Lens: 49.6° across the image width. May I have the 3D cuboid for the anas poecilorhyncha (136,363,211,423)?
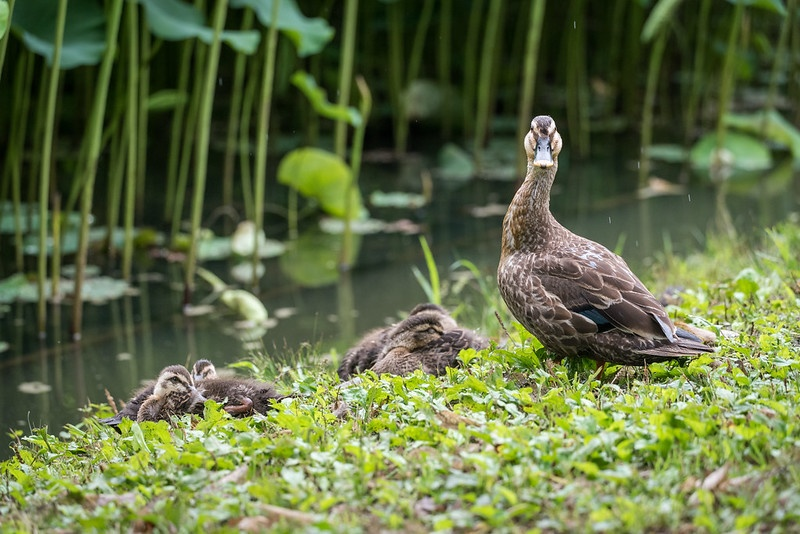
[{"bbox_3d":[-1.379,0.772,5.264,0.290,0.276,0.401,14,-32,-41],"label":"anas poecilorhyncha"}]

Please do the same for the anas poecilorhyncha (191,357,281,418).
[{"bbox_3d":[-1.012,0.746,5.374,0.612,0.277,0.253,8,10,-5],"label":"anas poecilorhyncha"}]
